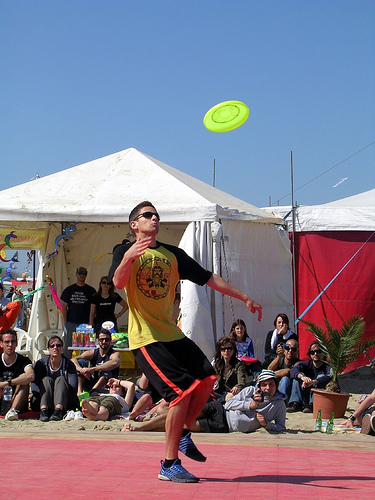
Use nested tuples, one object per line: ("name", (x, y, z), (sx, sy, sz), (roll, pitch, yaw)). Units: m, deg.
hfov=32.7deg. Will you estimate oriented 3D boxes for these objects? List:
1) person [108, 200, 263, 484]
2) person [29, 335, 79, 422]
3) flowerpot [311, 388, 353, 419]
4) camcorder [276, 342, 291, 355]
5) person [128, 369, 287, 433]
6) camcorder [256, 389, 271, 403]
("person", (-0.070, 0.486, 3.642), (0.747, 1.574, 0.647), (1, -10, -6))
("person", (-1.397, 1.333, 6.733), (0.514, 0.833, 0.674), (1, -9, -9))
("flowerpot", (1.521, 1.636, 6.779), (0.385, 0.306, 0.305), (-2, -9, 10))
("camcorder", (1.224, 1.258, 8.119), (0.226, 0.208, 0.084), (2, 6, 1))
("person", (0.240, 1.469, 6.031), (1.551, 0.510, 0.706), (-7, 5, 1))
("camcorder", (0.710, 1.343, 5.879), (0.127, 0.099, 0.058), (2, -3, 0))
